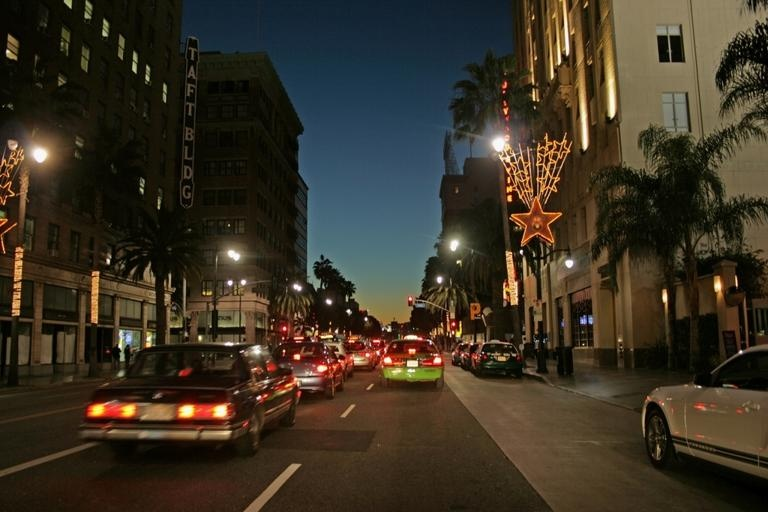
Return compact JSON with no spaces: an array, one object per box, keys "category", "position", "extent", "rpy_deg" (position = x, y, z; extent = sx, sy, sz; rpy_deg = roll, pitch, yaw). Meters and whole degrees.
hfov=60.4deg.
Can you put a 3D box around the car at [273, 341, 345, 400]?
[{"category":"car","position":[-3.784,4.196,24.637],"extent":[2.284,2.044,4.858],"rpy_deg":[0,-2,1]}]

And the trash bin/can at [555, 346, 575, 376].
[{"category":"trash bin/can","position":[9.275,5.395,34.026],"extent":[1.099,2.006,1.202],"rpy_deg":[-1,-1,11]}]

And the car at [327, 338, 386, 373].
[{"category":"car","position":[-1.510,6.248,38.556],"extent":[3.090,2.862,6.651],"rpy_deg":[-2,-2,-3]}]

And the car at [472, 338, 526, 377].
[{"category":"car","position":[6.123,5.701,36.817],"extent":[2.414,2.250,4.754],"rpy_deg":[0,-4,-3]}]

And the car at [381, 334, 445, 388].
[{"category":"car","position":[1.152,4.620,28.243],"extent":[2.555,2.163,1.413],"rpy_deg":[-1,-12,-5]}]
